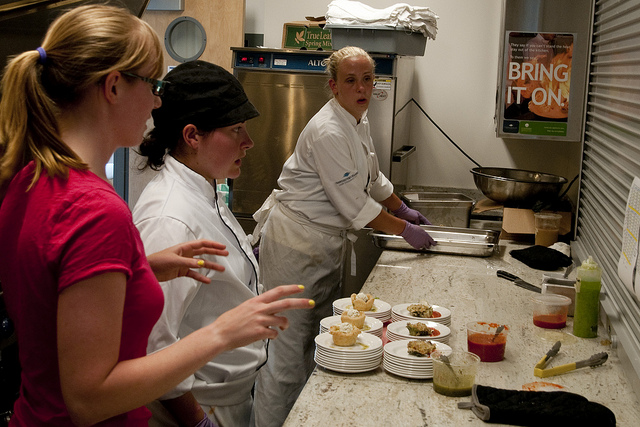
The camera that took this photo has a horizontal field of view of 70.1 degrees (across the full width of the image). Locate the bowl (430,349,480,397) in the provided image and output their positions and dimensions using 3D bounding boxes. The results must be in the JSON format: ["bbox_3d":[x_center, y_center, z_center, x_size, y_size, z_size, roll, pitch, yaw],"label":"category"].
[{"bbox_3d":[0.431,0.504,1.527,0.149,0.135,0.156,-1,14,0],"label":"bowl"}]

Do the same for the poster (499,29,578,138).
[{"bbox_3d":[1.482,-0.869,3.134,0.509,0.775,0.090,4,-6,6],"label":"poster"}]

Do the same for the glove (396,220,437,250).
[{"bbox_3d":[0.597,0.140,2.777,0.229,0.195,0.078,-3,15,-13],"label":"glove"}]

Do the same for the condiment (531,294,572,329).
[{"bbox_3d":[0.970,0.409,1.933,0.142,0.114,0.130,8,17,27],"label":"condiment"}]

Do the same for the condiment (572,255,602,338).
[{"bbox_3d":[1.074,0.337,1.841,0.126,0.323,0.131,0,4,6],"label":"condiment"}]

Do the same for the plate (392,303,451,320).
[{"bbox_3d":[0.425,0.412,1.926,0.239,0.037,0.172,0,15,-3],"label":"plate"}]

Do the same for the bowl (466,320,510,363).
[{"bbox_3d":[0.621,0.486,1.740,0.180,0.134,0.188,3,-7,0],"label":"bowl"}]

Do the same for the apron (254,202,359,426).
[{"bbox_3d":[-0.175,0.608,2.906,0.781,1.286,0.467,-12,19,-40],"label":"apron"}]

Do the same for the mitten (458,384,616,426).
[{"bbox_3d":[0.641,0.587,1.378,0.431,0.065,0.121,3,15,8],"label":"mitten"}]

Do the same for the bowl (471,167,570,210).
[{"bbox_3d":[1.391,-0.175,3.222,0.580,0.218,0.584,1,15,0],"label":"bowl"}]

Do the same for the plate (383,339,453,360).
[{"bbox_3d":[0.347,0.475,1.618,0.203,0.042,0.191,5,11,27],"label":"plate"}]

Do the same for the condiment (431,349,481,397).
[{"bbox_3d":[0.434,0.521,1.489,0.147,0.126,0.085,5,15,18],"label":"condiment"}]

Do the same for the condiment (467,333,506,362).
[{"bbox_3d":[0.621,0.496,1.720,0.128,0.085,0.132,3,-4,14],"label":"condiment"}]

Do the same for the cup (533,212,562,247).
[{"bbox_3d":[1.417,0.095,2.867,0.147,0.191,0.172,8,16,27],"label":"cup"}]

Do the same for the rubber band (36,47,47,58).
[{"bbox_3d":[-0.623,-0.363,1.030,0.014,0.023,0.023,-12,19,-39],"label":"rubber band"}]

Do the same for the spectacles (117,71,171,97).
[{"bbox_3d":[-0.422,-0.313,1.082,0.122,0.035,0.113,12,4,-40],"label":"spectacles"}]

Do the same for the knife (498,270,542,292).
[{"bbox_3d":[1.016,0.336,2.334,0.047,0.020,0.223,-8,16,-17],"label":"knife"}]
